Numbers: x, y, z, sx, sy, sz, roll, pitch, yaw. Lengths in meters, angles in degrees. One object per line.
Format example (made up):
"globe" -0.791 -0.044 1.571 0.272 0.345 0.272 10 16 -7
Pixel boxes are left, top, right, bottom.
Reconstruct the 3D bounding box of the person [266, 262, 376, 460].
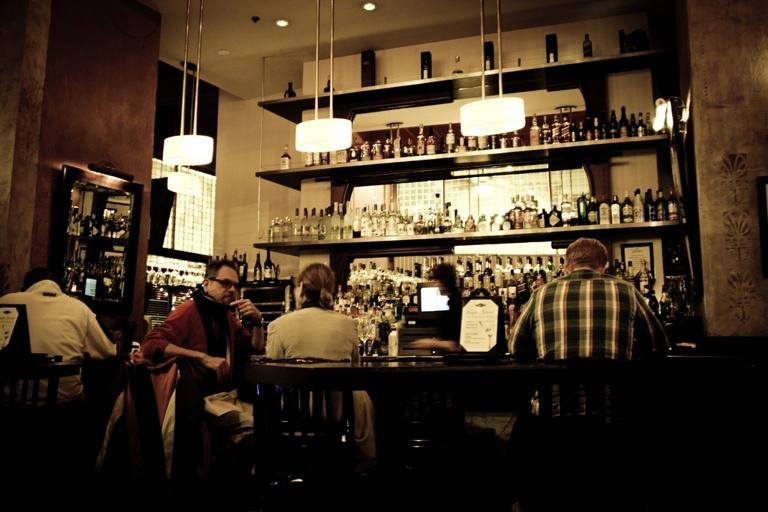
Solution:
"person" -0.559 0.623 5.301 0.744 1.172 0.703 -2 17 -18

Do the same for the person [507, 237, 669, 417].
"person" 1.390 0.630 4.824 0.861 1.572 0.780 19 -29 -25

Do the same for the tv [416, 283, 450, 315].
"tv" 0.494 0.448 7.261 0.294 0.292 0.068 1 0 15

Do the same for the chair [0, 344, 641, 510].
"chair" -0.161 0.992 4.517 3.274 0.843 0.669 1 -5 20
